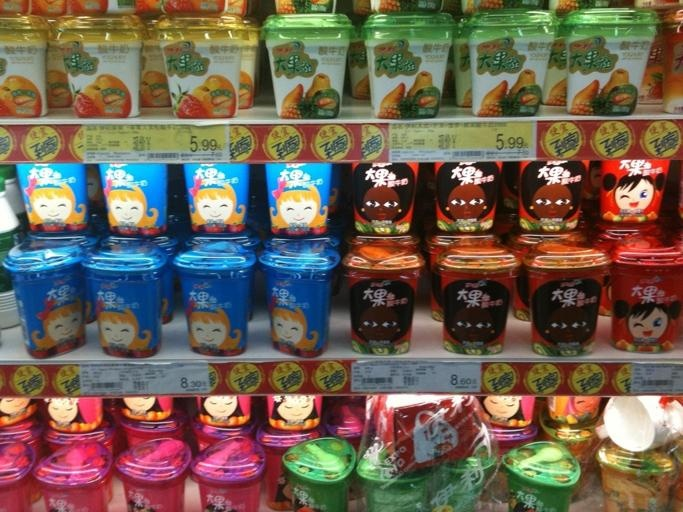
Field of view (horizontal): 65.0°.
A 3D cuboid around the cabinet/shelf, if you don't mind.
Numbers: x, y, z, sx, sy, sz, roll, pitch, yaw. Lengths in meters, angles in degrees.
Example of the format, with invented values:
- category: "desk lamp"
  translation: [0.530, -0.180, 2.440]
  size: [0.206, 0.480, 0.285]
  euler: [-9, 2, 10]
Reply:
- category: "cabinet/shelf"
  translation: [0.020, -0.003, 1.708]
  size: [2.209, 0.856, 0.355]
  euler: [-1, 19, 0]
